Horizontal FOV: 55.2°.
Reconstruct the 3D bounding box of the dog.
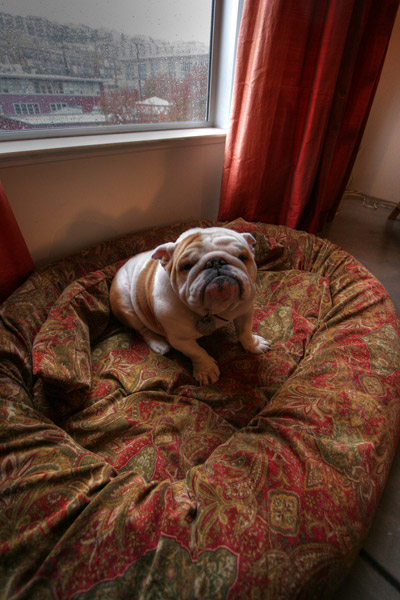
[{"bbox_3d":[-0.031,-0.106,1.313,0.395,0.432,0.603,-25,47,-28],"label":"dog"}]
